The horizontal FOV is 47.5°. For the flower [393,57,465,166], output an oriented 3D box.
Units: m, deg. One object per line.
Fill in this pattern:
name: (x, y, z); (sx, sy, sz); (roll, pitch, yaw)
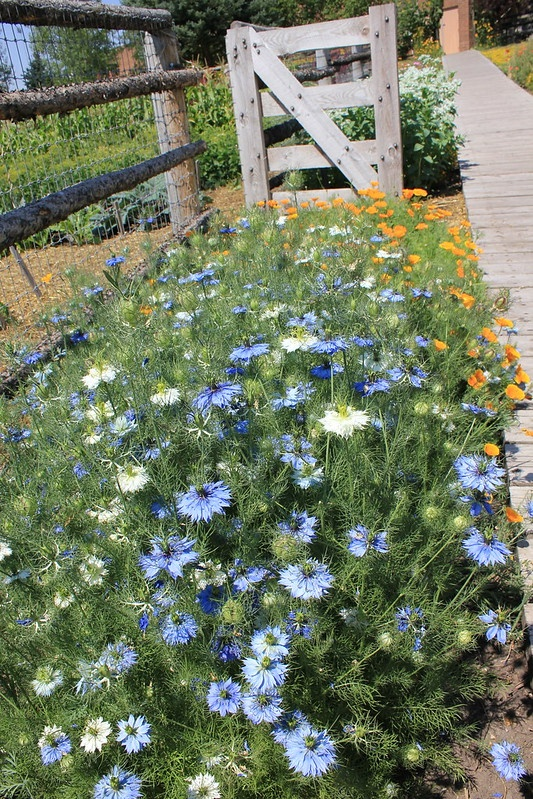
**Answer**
flower: (1.895, -3.163, 6.899); (0.676, 1.070, 1.793); (-2, 27, 14)
